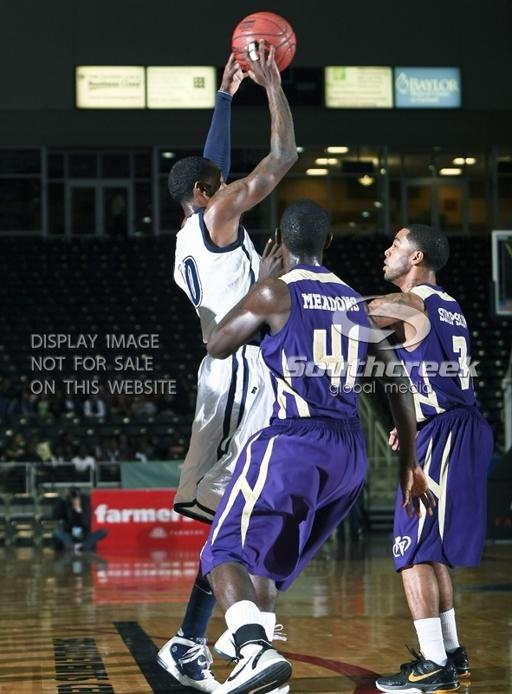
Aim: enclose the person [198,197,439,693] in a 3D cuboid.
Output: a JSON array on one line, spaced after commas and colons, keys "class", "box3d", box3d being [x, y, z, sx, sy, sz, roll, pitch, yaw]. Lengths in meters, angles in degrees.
[{"class": "person", "box3d": [0.163, 0.334, 3.812, 0.463, 1.793, 0.941, -4, -4, 43]}]
